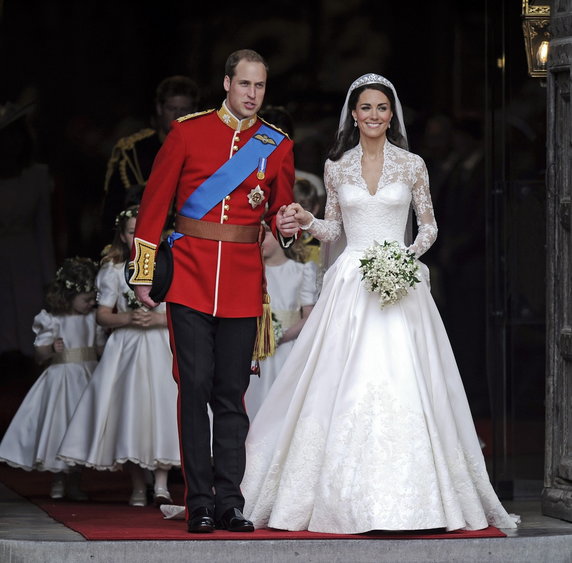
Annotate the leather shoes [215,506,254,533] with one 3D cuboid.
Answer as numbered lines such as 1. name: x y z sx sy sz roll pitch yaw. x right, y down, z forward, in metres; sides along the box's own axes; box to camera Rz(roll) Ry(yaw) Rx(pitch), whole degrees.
1. leather shoes: -0.211 0.973 4.222 0.069 0.074 0.171 6 -8 -37

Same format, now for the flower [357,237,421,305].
1. flower: 0.481 -0.073 4.508 0.324 0.182 0.306 -11 -20 28
